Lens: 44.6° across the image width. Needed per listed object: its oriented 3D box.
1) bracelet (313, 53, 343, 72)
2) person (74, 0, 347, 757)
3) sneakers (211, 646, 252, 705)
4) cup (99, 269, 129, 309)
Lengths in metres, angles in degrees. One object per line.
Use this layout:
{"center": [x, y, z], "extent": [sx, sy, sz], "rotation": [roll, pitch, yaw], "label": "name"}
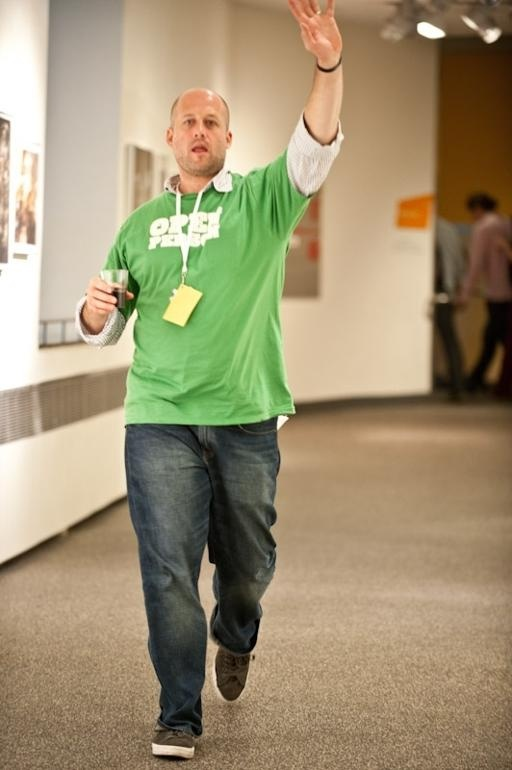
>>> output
{"center": [0.122, -0.523, 1.011], "extent": [0.032, 0.010, 0.034], "rotation": [-7, -20, 7], "label": "bracelet"}
{"center": [-0.052, 0.049, 1.177], "extent": [0.355, 1.311, 0.576], "rotation": [1, -2, -30], "label": "person"}
{"center": [-0.058, 0.633, 1.412], "extent": [0.049, 0.058, 0.149], "rotation": [26, 22, -15], "label": "sneakers"}
{"center": [-0.270, -0.185, 1.179], "extent": [0.050, 0.073, 0.053], "rotation": [0, -1, 0], "label": "cup"}
